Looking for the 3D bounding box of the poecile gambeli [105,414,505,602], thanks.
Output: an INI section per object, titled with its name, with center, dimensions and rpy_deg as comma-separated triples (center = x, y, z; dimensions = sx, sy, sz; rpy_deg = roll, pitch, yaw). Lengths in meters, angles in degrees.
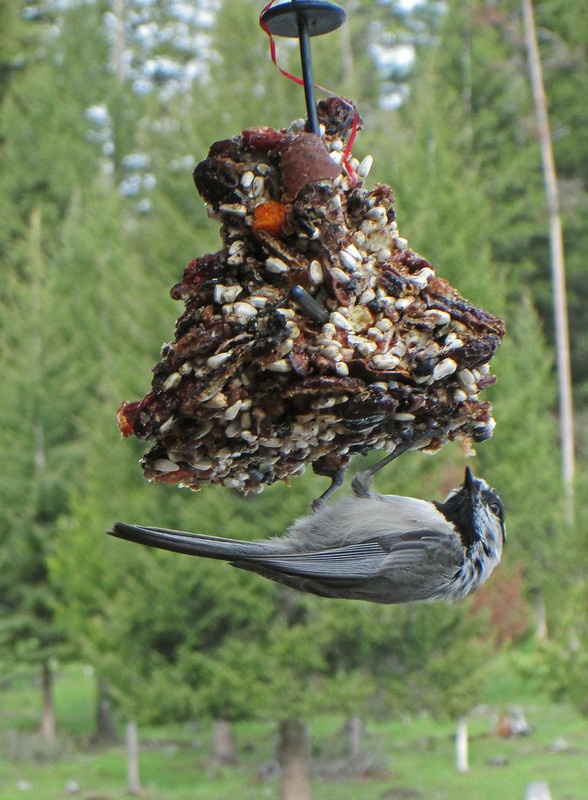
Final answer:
[poecile gambeli]
center = 0.247, 0.424, 5.071
dimensions = 1.634, 0.500, 0.448
rpy_deg = -9, 3, -4
